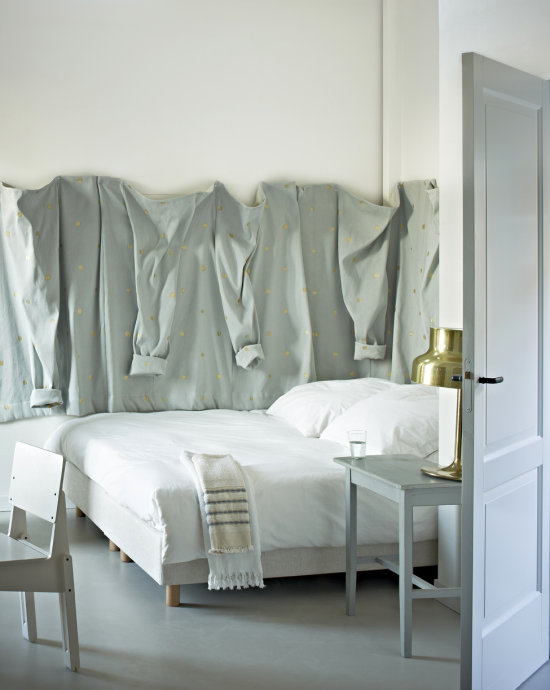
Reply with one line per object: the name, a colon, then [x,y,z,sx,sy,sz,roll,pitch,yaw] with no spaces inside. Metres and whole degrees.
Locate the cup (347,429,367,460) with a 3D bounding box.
cup: [0.291,0.354,2.541,0.076,0.140,0.079,0,-4,0]

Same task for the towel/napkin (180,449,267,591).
towel/napkin: [-0.163,0.626,2.483,0.178,0.580,0.144,0,-19,-17]

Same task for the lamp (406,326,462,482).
lamp: [0.522,0.185,2.320,0.155,0.483,0.384,0,1,11]
